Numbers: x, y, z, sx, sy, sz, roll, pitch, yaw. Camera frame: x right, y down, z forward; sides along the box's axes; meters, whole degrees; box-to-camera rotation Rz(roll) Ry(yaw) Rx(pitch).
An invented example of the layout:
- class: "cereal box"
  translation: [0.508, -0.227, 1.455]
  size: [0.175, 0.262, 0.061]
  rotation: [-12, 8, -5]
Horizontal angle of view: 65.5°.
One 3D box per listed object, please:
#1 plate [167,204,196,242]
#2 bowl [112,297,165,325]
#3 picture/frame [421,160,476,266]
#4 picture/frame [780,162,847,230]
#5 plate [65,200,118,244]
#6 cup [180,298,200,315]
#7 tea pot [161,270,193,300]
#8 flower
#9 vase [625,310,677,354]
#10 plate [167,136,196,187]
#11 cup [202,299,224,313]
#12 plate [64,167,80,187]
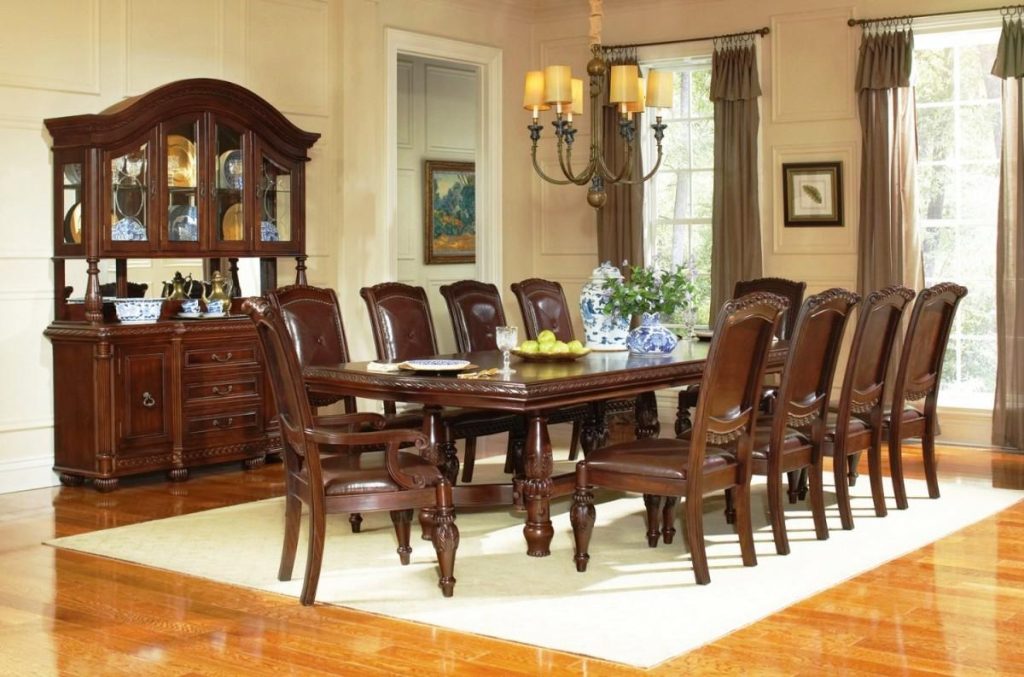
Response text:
- class: "plate"
  translation: [-2.399, -0.862, 5.857]
  size: [0.068, 0.240, 0.250]
  rotation: [0, 18, 32]
- class: "bowl"
  translation: [-2.667, -0.204, 5.809]
  size: [0.267, 0.104, 0.250]
  rotation: [-1, -3, 0]
- class: "picture/frame"
  translation: [-0.717, -1.453, 9.186]
  size: [0.767, 1.198, 0.130]
  rotation: [-5, 8, -43]
- class: "picture/frame"
  translation: [2.808, -1.341, 7.376]
  size: [0.743, 0.707, 0.061]
  rotation: [1, 3, 36]
- class: "plate"
  translation: [-2.938, -0.825, 5.573]
  size: [0.081, 0.304, 0.327]
  rotation: [5, -15, 26]
- class: "cup"
  translation: [-2.436, -0.246, 6.107]
  size: [0.137, 0.103, 0.114]
  rotation: [1, -1, -9]
- class: "tea pot"
  translation: [-2.571, -0.408, 6.177]
  size: [0.236, 0.238, 0.169]
  rotation: [3, -3, -15]
- class: "flower"
  translation: [0.806, -0.265, 4.983]
  size: [0.630, 0.394, 0.560]
  rotation: [-1, 5, -4]
- class: "vase"
  translation: [0.852, -0.032, 4.861]
  size: [0.273, 0.201, 0.266]
  rotation: [-1, 1, 27]
- class: "plate"
  translation: [-2.404, -1.293, 5.851]
  size: [0.069, 0.298, 0.318]
  rotation: [5, 9, 21]
- class: "cup"
  translation: [-2.311, -0.253, 6.203]
  size: [0.109, 0.081, 0.116]
  rotation: [-1, -4, 0]
- class: "plate"
  translation: [-3.049, -1.136, 5.579]
  size: [0.036, 0.140, 0.143]
  rotation: [5, 40, -49]
